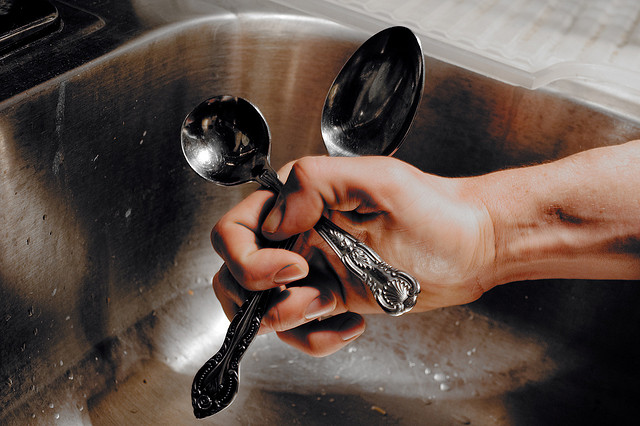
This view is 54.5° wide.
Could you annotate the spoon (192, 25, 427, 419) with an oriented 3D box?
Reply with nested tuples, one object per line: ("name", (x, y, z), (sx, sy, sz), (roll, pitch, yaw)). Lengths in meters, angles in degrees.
("spoon", (-0.007, 0.020, 0.945), (0.123, 0.080, 0.616), (26, 91, 36))
